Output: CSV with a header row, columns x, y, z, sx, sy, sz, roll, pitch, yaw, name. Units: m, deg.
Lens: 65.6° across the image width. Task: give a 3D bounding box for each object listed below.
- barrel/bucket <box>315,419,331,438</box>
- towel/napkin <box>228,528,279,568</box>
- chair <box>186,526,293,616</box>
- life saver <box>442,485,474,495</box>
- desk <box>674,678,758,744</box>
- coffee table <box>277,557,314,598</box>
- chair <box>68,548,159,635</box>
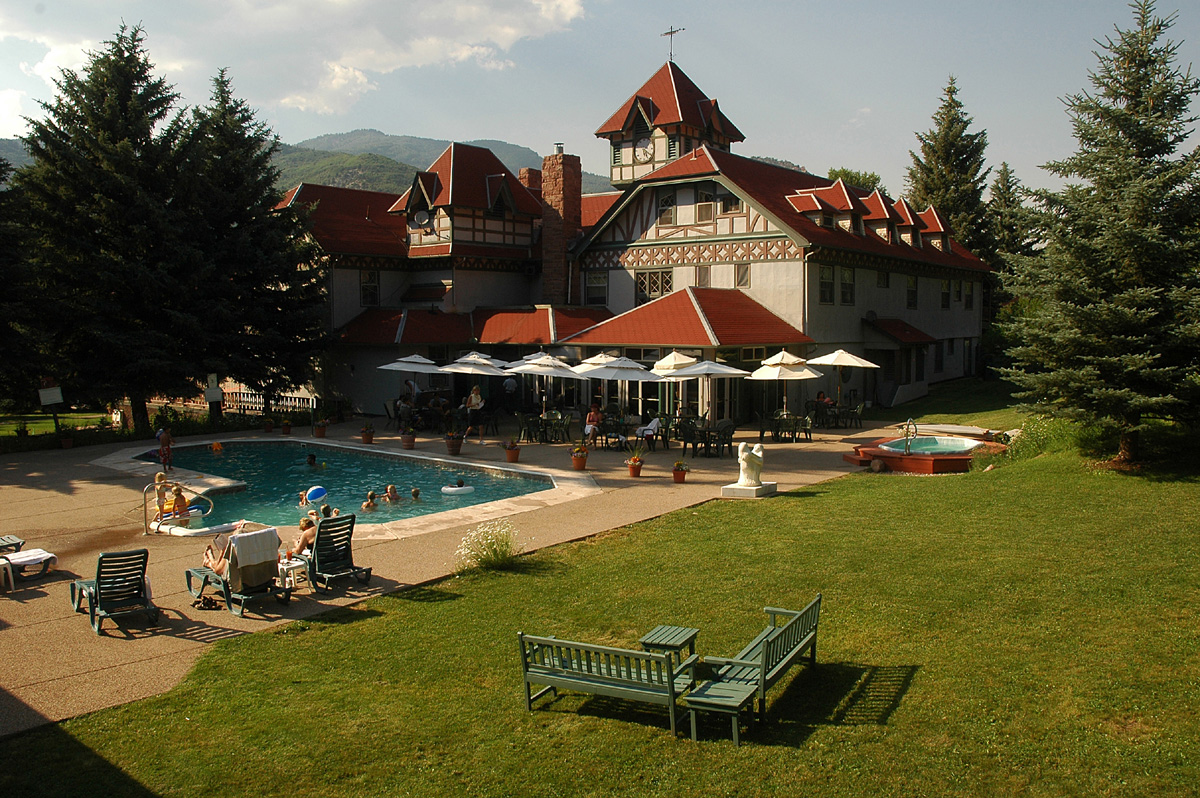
x,y,z,sx,sy,sz,roll,pitch,yaw,name
-11.764,1.181,38.759,0.930,0.800,0.734,0,-1,-24,barrel/bucket
-7.111,3.020,19.063,0.755,0.422,0.757,2,5,38,towel/napkin
-7.642,3.456,19.516,2.275,1.389,1.584,6,5,39,chair
-4.457,2.771,28.754,0.940,0.231,0.824,-1,1,-7,life saver
1.943,4.916,14.841,1.147,0.824,0.936,-1,1,4,desk
-6.606,3.770,19.913,0.796,0.636,0.908,2,-2,-44,coffee table
-9.722,3.726,18.325,1.718,1.009,0.897,-1,1,15,chair
